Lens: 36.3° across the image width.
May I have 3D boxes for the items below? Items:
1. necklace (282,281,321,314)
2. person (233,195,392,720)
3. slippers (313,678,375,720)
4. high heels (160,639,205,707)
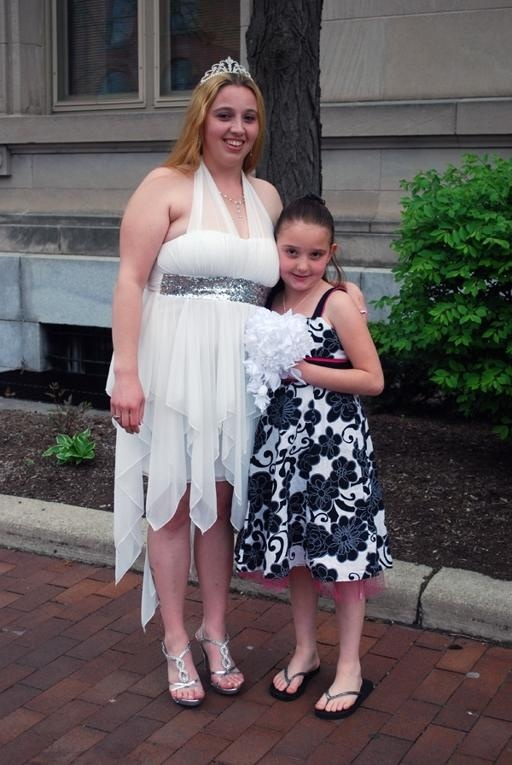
[{"bbox_3d":[0.140,-0.264,2.556,0.144,0.161,0.097,1,-2,6],"label":"necklace"},{"bbox_3d":[0.220,0.259,2.632,0.576,1.524,0.615,3,5,26],"label":"person"},{"bbox_3d":[0.299,1.027,2.569,0.079,0.043,0.211,8,11,36],"label":"slippers"},{"bbox_3d":[-0.230,0.980,2.635,0.143,0.129,0.294,-1,6,-21],"label":"high heels"}]
